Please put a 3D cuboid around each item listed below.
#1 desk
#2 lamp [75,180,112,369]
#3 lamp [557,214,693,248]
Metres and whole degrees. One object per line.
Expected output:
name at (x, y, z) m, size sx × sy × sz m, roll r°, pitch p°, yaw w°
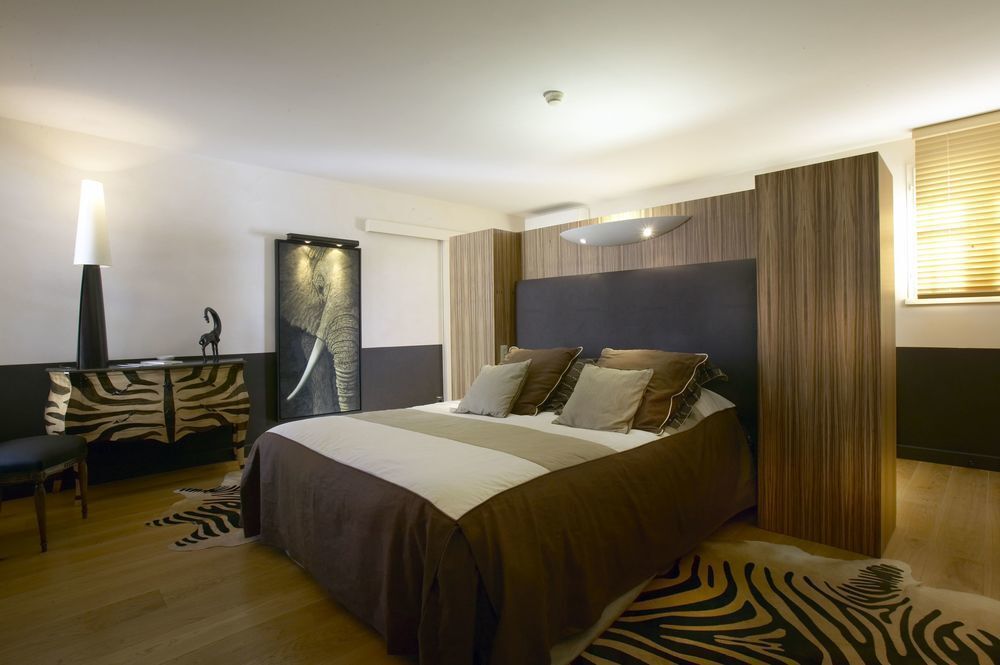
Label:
desk at (-3.168, 0.818, 6.002) m, size 0.551 × 0.965 × 1.569 m, roll -5°, pitch -2°, yaw 37°
lamp at (-3.521, -0.502, 5.590) m, size 0.312 × 1.620 × 0.267 m, roll -6°, pitch 5°, yaw -34°
lamp at (1.030, -0.855, 5.587) m, size 1.132 × 0.223 × 0.204 m, roll -1°, pitch 4°, yaw 31°
